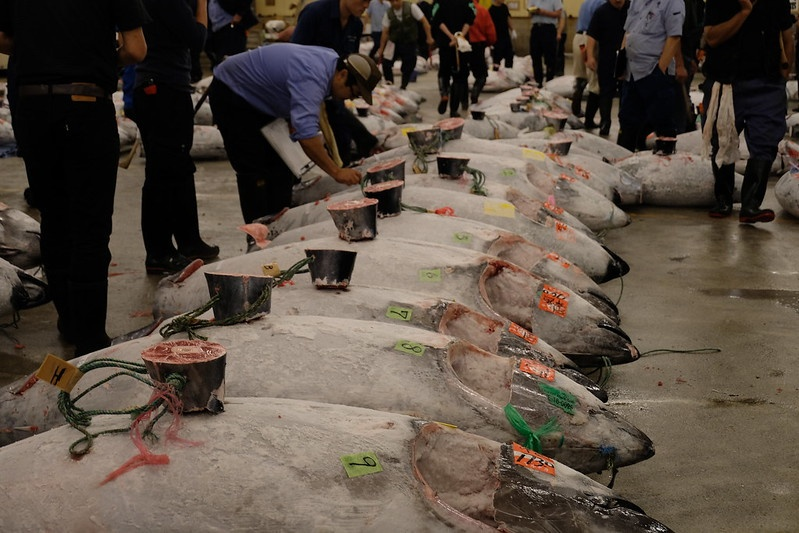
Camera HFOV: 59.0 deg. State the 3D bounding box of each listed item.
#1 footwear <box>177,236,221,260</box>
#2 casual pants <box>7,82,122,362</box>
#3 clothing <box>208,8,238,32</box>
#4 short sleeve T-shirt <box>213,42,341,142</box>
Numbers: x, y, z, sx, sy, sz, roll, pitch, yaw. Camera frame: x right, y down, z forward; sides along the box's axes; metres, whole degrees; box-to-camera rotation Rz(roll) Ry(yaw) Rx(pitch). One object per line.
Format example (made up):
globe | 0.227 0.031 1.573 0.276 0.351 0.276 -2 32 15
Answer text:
footwear | -1.564 -0.139 5.473 0.316 0.135 0.125 -5 18 -22
casual pants | -1.840 -0.221 3.921 0.517 1.493 0.374 5 16 18
clothing | -2.559 -3.525 10.169 0.332 0.446 0.152 11 3 11
short sleeve T-shirt | -0.890 -1.302 4.896 0.731 0.354 0.966 3 22 16
